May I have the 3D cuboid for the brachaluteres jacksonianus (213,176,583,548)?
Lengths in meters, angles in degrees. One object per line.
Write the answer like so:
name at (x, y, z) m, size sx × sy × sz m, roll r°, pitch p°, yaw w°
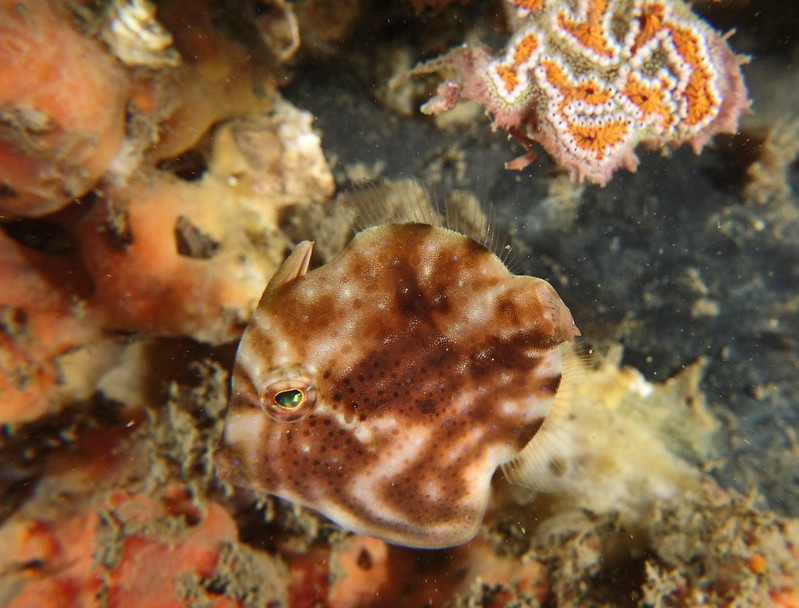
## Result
brachaluteres jacksonianus at (-0.196, 0.588, 4.799) m, size 1.885 × 1.414 × 2.126 m, roll -18°, pitch 112°, yaw -37°
